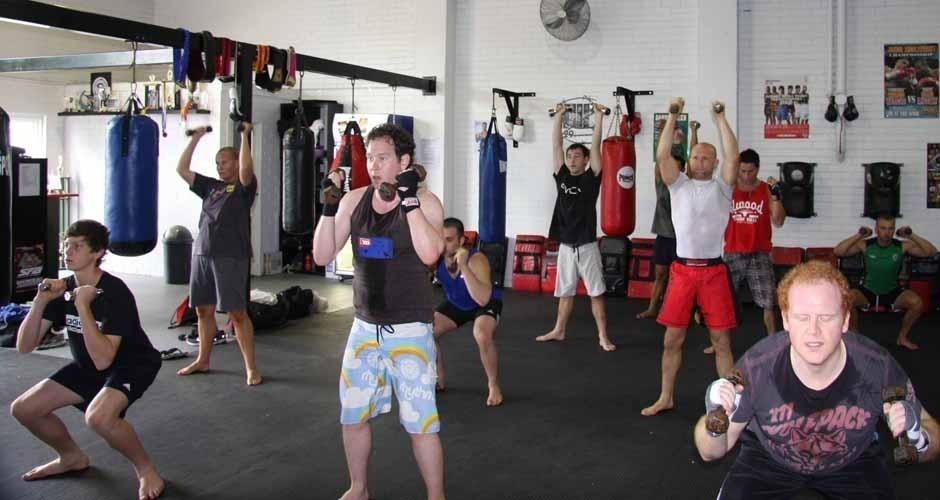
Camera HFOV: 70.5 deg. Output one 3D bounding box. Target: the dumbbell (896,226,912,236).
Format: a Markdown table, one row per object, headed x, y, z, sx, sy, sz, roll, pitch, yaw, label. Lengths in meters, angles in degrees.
| x | y | z | sx | sy | sz | roll | pitch | yaw | label |
| --- | --- | --- | --- | --- | --- | --- | --- | --- | --- |
| 5.918 | -0.258 | 9.065 | 0.210 | 0.093 | 0.282 | -5 | 2 | 28 | dumbbell |

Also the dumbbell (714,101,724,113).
| x | y | z | sx | sy | sz | roll | pitch | yaw | label |
| --- | --- | --- | --- | --- | --- | --- | --- | --- | --- |
| 2.570 | -1.483 | 6.877 | 0.070 | 0.099 | 0.153 | 8 | 13 | 44 | dumbbell |

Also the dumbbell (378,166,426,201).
| x | y | z | sx | sy | sz | roll | pitch | yaw | label |
| --- | --- | --- | --- | --- | --- | --- | --- | --- | --- |
| -0.601 | -0.571 | 5.672 | 0.390 | 0.288 | 0.242 | -4 | 10 | -15 | dumbbell |

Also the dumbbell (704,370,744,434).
| x | y | z | sx | sy | sz | roll | pitch | yaw | label |
| --- | --- | --- | --- | --- | --- | --- | --- | --- | --- |
| 1.919 | 1.191 | 5.122 | 0.283 | 0.144 | 0.539 | 21 | 38 | 24 | dumbbell |

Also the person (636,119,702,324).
| x | y | z | sx | sy | sz | roll | pitch | yaw | label |
| --- | --- | --- | --- | --- | --- | --- | --- | --- | --- |
| 2.678 | -0.262 | 9.281 | 1.027 | 2.961 | 0.875 | 2 | 3 | 13 | person |

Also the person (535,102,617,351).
| x | y | z | sx | sy | sz | roll | pitch | yaw | label |
| --- | --- | --- | --- | --- | --- | --- | --- | --- | --- |
| 1.436 | -0.348 | 8.770 | 0.915 | 3.123 | 0.929 | -1 | 10 | 6 | person |

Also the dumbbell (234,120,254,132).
| x | y | z | sx | sy | sz | roll | pitch | yaw | label |
| --- | --- | --- | --- | --- | --- | --- | --- | --- | --- |
| -2.533 | -1.397 | 7.451 | 0.164 | 0.052 | 0.153 | -6 | 26 | -17 | dumbbell |

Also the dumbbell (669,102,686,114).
| x | y | z | sx | sy | sz | roll | pitch | yaw | label |
| --- | --- | --- | --- | --- | --- | --- | --- | --- | --- |
| 2.120 | -1.465 | 6.879 | 0.119 | 0.103 | 0.233 | 1 | 9 | 16 | dumbbell |

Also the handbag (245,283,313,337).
| x | y | z | sx | sy | sz | roll | pitch | yaw | label |
| --- | --- | --- | --- | --- | --- | --- | --- | --- | --- |
| -2.691 | 0.817 | 9.429 | 0.368 | 0.496 | 0.916 | 1 | 1 | -20 | handbag |

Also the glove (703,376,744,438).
| x | y | z | sx | sy | sz | roll | pitch | yaw | label |
| --- | --- | --- | --- | --- | --- | --- | --- | --- | --- |
| 1.906 | 1.171 | 4.969 | 0.304 | 0.428 | 0.120 | -3 | 10 | -9 | glove |

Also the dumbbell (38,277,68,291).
| x | y | z | sx | sy | sz | roll | pitch | yaw | label |
| --- | --- | --- | --- | --- | --- | --- | --- | --- | --- |
| -3.780 | 0.314 | 5.968 | 0.195 | 0.061 | 0.152 | 7 | 2 | 35 | dumbbell |

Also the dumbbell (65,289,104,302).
| x | y | z | sx | sy | sz | roll | pitch | yaw | label |
| --- | --- | --- | --- | --- | --- | --- | --- | --- | --- |
| -3.428 | 0.400 | 5.926 | 0.316 | 0.085 | 0.074 | -6 | -17 | -11 | dumbbell |

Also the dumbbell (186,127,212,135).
| x | y | z | sx | sy | sz | roll | pitch | yaw | label |
| --- | --- | --- | --- | --- | --- | --- | --- | --- | --- |
| -3.029 | -1.348 | 7.459 | 0.218 | 0.099 | 0.441 | 4 | 10 | 28 | dumbbell |

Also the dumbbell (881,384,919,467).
| x | y | z | sx | sy | sz | roll | pitch | yaw | label |
| --- | --- | --- | --- | --- | --- | --- | --- | --- | --- |
| 3.232 | 1.280 | 4.898 | 0.348 | 0.549 | 0.166 | -1 | 10 | 5 | dumbbell |

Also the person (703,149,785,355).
| x | y | z | sx | sy | sz | roll | pitch | yaw | label |
| --- | --- | --- | --- | --- | --- | --- | --- | --- | --- |
| 3.468 | -0.107 | 8.215 | 0.898 | 2.605 | 0.909 | 2 | 2 | 30 | person |

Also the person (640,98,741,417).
| x | y | z | sx | sy | sz | roll | pitch | yaw | label |
| --- | --- | --- | --- | --- | --- | --- | --- | --- | --- |
| 2.385 | 0.104 | 7.089 | 1.295 | 3.249 | 0.628 | 0 | 3 | 15 | person |

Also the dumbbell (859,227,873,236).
| x | y | z | sx | sy | sz | roll | pitch | yaw | label |
| --- | --- | --- | --- | --- | --- | --- | --- | --- | --- |
| 5.330 | -0.258 | 8.971 | 0.174 | 0.089 | 0.201 | 1 | 0 | 4 | dumbbell |

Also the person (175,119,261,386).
| x | y | z | sx | sy | sz | roll | pitch | yaw | label |
| --- | --- | --- | --- | --- | --- | --- | --- | --- | --- |
| -2.855 | 0.024 | 8.060 | 1.045 | 2.867 | 1.102 | 1 | 2 | 21 | person |
